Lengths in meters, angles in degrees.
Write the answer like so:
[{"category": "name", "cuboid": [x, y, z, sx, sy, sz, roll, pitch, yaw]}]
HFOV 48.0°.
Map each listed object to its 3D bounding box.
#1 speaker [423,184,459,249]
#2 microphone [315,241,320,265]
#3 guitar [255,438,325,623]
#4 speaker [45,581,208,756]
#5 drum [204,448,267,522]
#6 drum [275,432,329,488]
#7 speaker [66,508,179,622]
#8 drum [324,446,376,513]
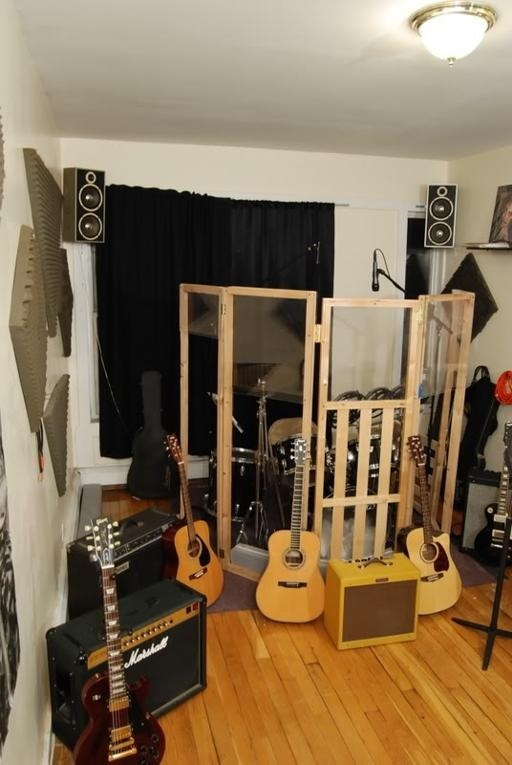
[{"category": "speaker", "cuboid": [1.370, -1.242, 4.275, 0.212, 0.452, 0.155, 2, 7, 15]}, {"category": "microphone", "cuboid": [0.472, -0.989, 4.401, 0.039, 0.169, 0.008, -5, 8, -38]}, {"category": "guitar", "cuboid": [0.170, 0.708, 2.770, 0.327, 0.857, 0.127, 1, 7, 4]}, {"category": "speaker", "cuboid": [-0.427, 0.989, 1.948, 0.172, 0.488, 0.457, 10, 21, 36]}, {"category": "drum", "cuboid": [-0.140, 0.573, 3.679, 0.366, 0.447, 0.399, 5, 18, 6]}, {"category": "drum", "cuboid": [0.238, 0.454, 3.189, 0.244, 0.288, 0.278, 2, -11, 4]}, {"category": "speaker", "cuboid": [-0.528, 0.758, 2.340, 0.147, 0.452, 0.436, 22, 31, 28]}, {"category": "drum", "cuboid": [0.527, 0.555, 3.337, 0.296, 0.393, 0.330, 3, -9, -9]}]
